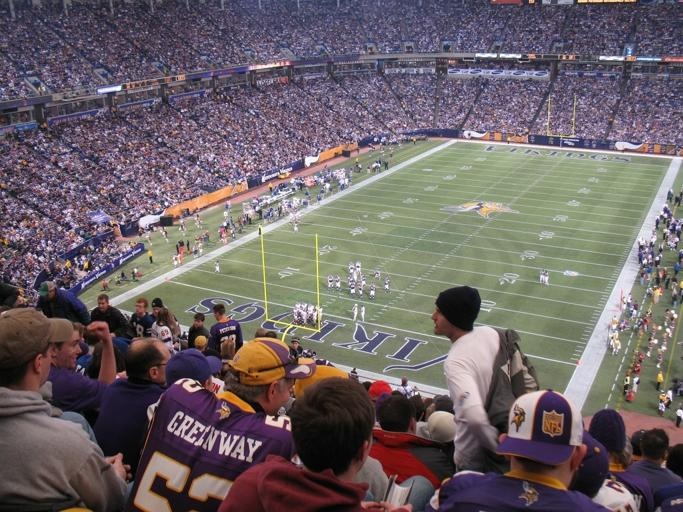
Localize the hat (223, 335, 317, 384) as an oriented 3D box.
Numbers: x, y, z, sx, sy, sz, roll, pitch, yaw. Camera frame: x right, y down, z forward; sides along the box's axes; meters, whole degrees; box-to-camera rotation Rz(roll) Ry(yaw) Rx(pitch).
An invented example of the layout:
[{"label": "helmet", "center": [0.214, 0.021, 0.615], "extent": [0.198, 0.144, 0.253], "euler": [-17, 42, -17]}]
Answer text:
[{"label": "hat", "center": [-0.637, 0.862, 5.810], "extent": [0.585, 0.214, 0.368], "euler": [-2, 8, -43]}]

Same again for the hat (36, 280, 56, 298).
[{"label": "hat", "center": [-5.048, 0.558, 11.561], "extent": [0.232, 0.305, 0.174], "euler": [11, -47, 14]}]

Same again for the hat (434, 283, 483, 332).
[{"label": "hat", "center": [1.135, 0.490, 6.665], "extent": [0.373, 0.394, 0.474], "euler": [7, -2, 2]}]

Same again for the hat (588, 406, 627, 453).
[{"label": "hat", "center": [2.716, 1.760, 6.873], "extent": [0.358, 0.544, 0.290], "euler": [1, -66, 20]}]
